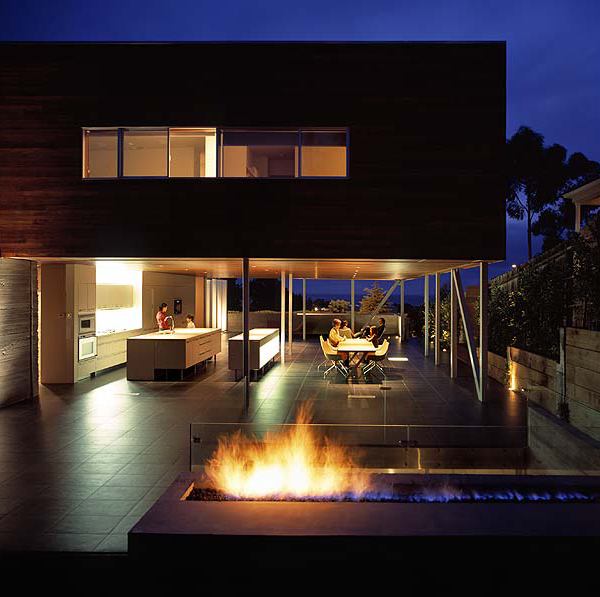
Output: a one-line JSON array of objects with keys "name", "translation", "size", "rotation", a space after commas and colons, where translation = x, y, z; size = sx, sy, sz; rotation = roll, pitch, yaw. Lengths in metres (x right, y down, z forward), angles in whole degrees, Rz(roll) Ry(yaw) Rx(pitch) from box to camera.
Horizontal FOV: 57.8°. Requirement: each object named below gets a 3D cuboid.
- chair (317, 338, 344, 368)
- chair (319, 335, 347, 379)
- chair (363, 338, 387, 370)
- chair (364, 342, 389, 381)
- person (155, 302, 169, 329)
[{"name": "chair", "translation": [0.674, 1.279, 11.662], "size": [0.529, 0.919, 0.686], "rotation": [0, 4, 3]}, {"name": "chair", "translation": [0.735, 1.333, 11.924], "size": [0.606, 1.095, 0.867], "rotation": [0, 4, 5]}, {"name": "chair", "translation": [1.671, 1.263, 12.160], "size": [0.472, 0.943, 2.269], "rotation": [0, 4, 7]}, {"name": "chair", "translation": [1.720, 1.244, 11.707], "size": [0.624, 1.143, 0.860], "rotation": [2, 1, 5]}, {"name": "person", "translation": [-3.538, 0.458, 13.835], "size": [0.258, 1.070, 0.458], "rotation": [-5, 14, -20]}]
